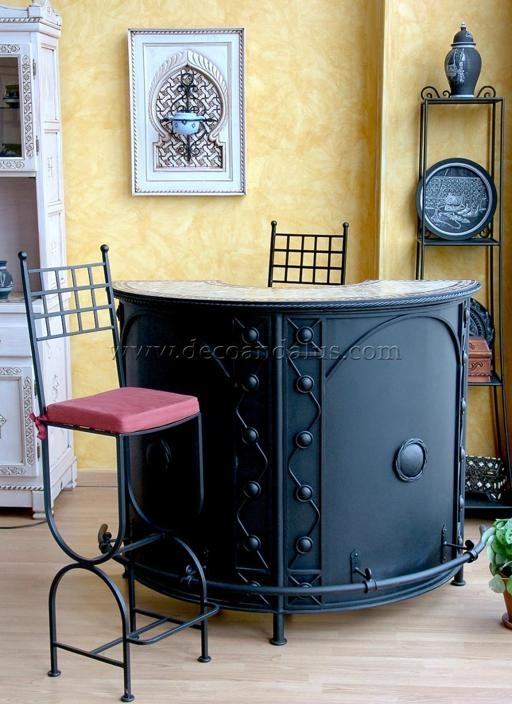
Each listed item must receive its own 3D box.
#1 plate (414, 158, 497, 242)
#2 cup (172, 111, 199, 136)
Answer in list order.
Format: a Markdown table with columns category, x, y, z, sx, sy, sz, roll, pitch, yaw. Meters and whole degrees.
| category | x | y | z | sx | sy | sz | roll | pitch | yaw |
| --- | --- | --- | --- | --- | --- | --- | --- | --- | --- |
| plate | 0.853 | -0.652 | 3.398 | 0.408 | 0.357 | 0.079 | -4 | 4 | 6 |
| cup | -0.323 | -1.050 | 3.680 | 0.115 | 0.069 | 0.106 | 3 | 26 | -1 |
